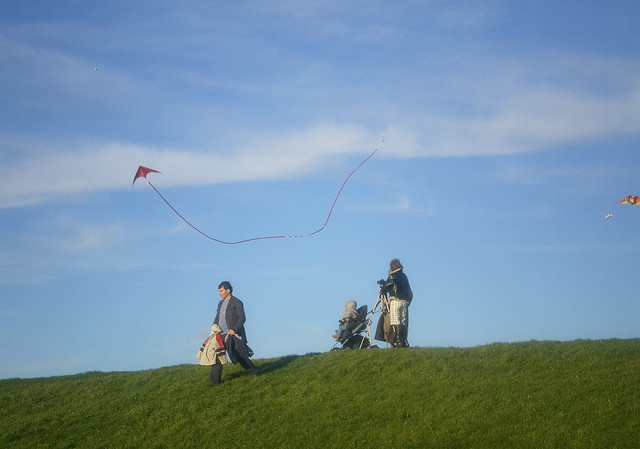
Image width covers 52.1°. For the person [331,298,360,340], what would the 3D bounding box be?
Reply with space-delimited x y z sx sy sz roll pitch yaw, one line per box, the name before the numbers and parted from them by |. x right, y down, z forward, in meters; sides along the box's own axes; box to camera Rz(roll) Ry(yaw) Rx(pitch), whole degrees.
person | 1.266 4.215 29.129 0.947 1.760 0.980 -10 11 -23

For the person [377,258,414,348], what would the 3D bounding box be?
person | 3.401 3.431 28.740 1.046 3.714 1.086 -11 11 -26
